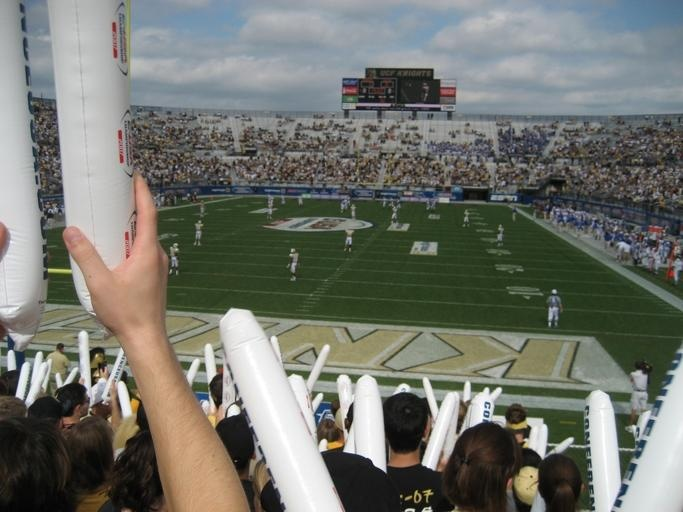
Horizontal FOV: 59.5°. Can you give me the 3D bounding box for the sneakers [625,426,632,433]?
[{"bbox_3d":[4.709,2.829,9.768,0.055,0.066,0.148,-3,-1,7],"label":"sneakers"}]
